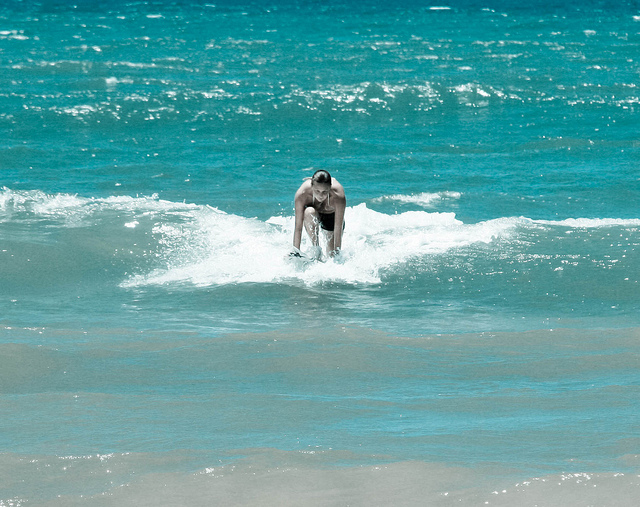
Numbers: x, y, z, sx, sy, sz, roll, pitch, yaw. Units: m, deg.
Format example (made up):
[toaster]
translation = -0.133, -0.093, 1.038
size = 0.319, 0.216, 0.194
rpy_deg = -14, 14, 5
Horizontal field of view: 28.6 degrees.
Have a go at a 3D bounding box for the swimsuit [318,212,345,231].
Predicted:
[swimsuit]
translation = 0.127, -0.541, 21.788
size = 0.287, 0.328, 0.149
rpy_deg = -1, 13, -1

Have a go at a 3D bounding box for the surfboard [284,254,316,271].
[surfboard]
translation = -0.320, 0.143, 21.521
size = 0.428, 0.116, 0.406
rpy_deg = 23, 28, 30
